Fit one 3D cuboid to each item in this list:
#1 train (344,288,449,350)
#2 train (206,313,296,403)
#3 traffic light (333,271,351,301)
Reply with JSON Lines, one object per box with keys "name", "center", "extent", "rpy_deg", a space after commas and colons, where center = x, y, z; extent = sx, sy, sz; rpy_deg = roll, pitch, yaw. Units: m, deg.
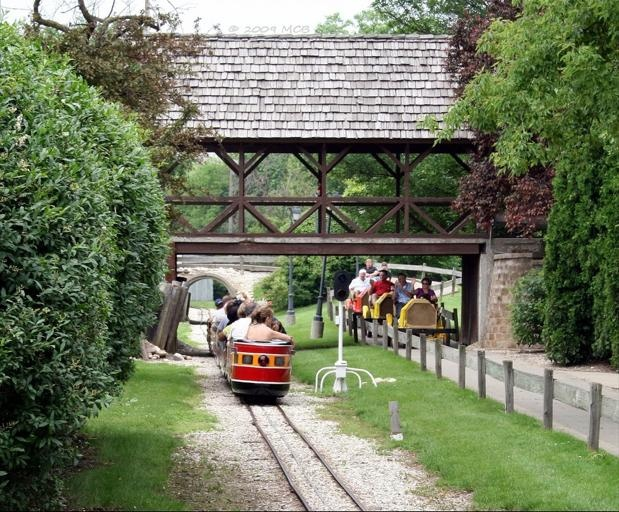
{"name": "train", "center": [2.333, 1.733, 27.254], "extent": [1.654, 1.253, 2.834], "rpy_deg": [2, -4, -16]}
{"name": "train", "center": [-1.219, 2.160, 20.905], "extent": [1.553, 1.359, 5.305], "rpy_deg": [1, -4, -8]}
{"name": "traffic light", "center": [0.686, 0.639, 20.875], "extent": [0.344, 0.708, 0.686], "rpy_deg": [-1, 5, 2]}
